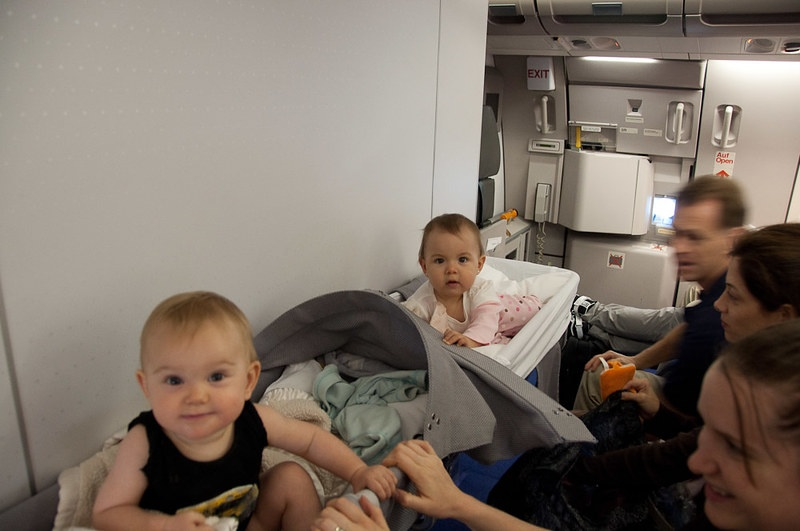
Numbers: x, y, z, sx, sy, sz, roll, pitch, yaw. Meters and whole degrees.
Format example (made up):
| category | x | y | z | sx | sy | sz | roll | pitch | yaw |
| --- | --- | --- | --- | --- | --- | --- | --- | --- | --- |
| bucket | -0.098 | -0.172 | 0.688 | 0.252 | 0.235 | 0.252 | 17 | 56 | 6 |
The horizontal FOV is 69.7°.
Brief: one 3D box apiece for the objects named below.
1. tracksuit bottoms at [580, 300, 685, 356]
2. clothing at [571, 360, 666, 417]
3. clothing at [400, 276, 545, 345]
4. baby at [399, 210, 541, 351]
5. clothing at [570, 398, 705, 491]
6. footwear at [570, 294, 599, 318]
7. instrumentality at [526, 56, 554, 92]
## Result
| category | x | y | z | sx | sy | sz | roll | pitch | yaw |
| --- | --- | --- | --- | --- | --- | --- | --- | --- | --- |
| tracksuit bottoms | 1.238 | 0.305 | 3.213 | 0.693 | 0.223 | 0.273 | -1 | -39 | 45 |
| clothing | 1.015 | 0.579 | 2.608 | 0.445 | 0.232 | 0.420 | 8 | -18 | 27 |
| clothing | 0.280 | 0.178 | 2.331 | 0.378 | 0.132 | 0.315 | 13 | 31 | 30 |
| baby | 0.259 | 0.059 | 2.484 | 0.667 | 0.460 | 0.883 | 2 | 7 | 23 |
| clothing | 0.727 | 0.560 | 1.701 | 0.325 | 0.139 | 0.266 | -31 | 21 | 1 |
| footwear | 1.110 | 0.234 | 3.438 | 0.160 | 0.094 | 0.223 | 17 | 25 | 39 |
| instrumentality | 0.958 | -1.348 | 4.063 | 0.207 | 0.223 | 0.074 | -6 | 16 | -17 |
